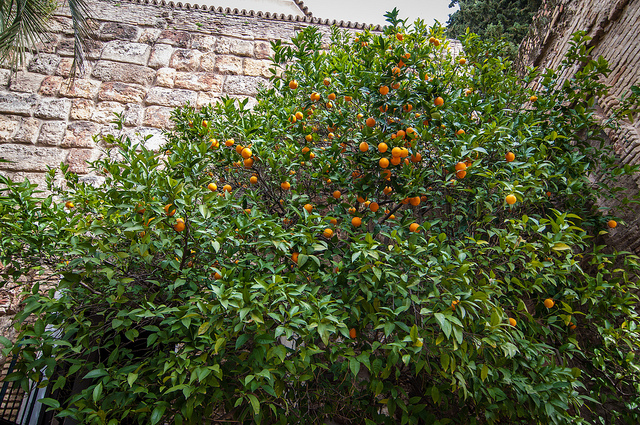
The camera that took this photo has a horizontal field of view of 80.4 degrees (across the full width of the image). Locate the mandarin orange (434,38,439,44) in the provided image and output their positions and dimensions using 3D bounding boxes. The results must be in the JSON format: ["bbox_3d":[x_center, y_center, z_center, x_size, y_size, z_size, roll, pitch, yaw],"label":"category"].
[{"bbox_3d":[1.140,-1.693,3.715,0.052,0.057,0.050,-1,4,-5],"label":"mandarin orange"}]

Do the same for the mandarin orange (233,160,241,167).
[{"bbox_3d":[-0.768,-0.448,3.494,0.074,0.033,0.030,15,31,22],"label":"mandarin orange"}]

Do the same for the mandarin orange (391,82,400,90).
[{"bbox_3d":[0.633,-1.060,3.171,0.064,0.059,0.065,6,6,38],"label":"mandarin orange"}]

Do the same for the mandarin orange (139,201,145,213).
[{"bbox_3d":[-1.283,-0.034,2.736,0.035,0.074,0.084,3,-13,-24],"label":"mandarin orange"}]

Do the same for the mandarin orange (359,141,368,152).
[{"bbox_3d":[0.358,-0.538,3.100,0.061,0.068,0.061,-4,-8,8],"label":"mandarin orange"}]

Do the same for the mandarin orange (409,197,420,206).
[{"bbox_3d":[0.771,-0.084,3.079,0.080,0.057,0.102,-9,-13,31],"label":"mandarin orange"}]

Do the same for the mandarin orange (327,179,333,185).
[{"bbox_3d":[0.085,-0.268,3.328,0.032,0.037,0.032,22,39,32],"label":"mandarin orange"}]

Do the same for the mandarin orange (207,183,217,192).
[{"bbox_3d":[-0.876,-0.205,3.132,0.078,0.086,0.075,3,-2,-36],"label":"mandarin orange"}]

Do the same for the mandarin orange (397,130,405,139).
[{"bbox_3d":[0.640,-0.614,3.003,0.060,0.067,0.060,-11,-5,29],"label":"mandarin orange"}]

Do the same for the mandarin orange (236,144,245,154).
[{"bbox_3d":[-0.667,-0.537,3.194,0.071,0.078,0.068,5,20,3],"label":"mandarin orange"}]

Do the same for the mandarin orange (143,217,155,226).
[{"bbox_3d":[-1.235,0.071,2.737,0.074,0.066,0.072,3,-13,-24],"label":"mandarin orange"}]

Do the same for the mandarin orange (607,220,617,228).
[{"bbox_3d":[2.538,0.102,3.299,0.060,0.058,0.058,31,-5,-5],"label":"mandarin orange"}]

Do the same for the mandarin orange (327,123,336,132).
[{"bbox_3d":[0.109,-0.776,3.460,0.070,0.084,0.164,-3,-11,2],"label":"mandarin orange"}]

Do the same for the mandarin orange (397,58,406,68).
[{"bbox_3d":[0.678,-1.244,3.158,0.058,0.044,0.055,-12,-14,38],"label":"mandarin orange"}]

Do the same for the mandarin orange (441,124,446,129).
[{"bbox_3d":[1.077,-0.751,3.317,0.065,0.033,0.064,8,3,20],"label":"mandarin orange"}]

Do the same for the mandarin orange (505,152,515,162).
[{"bbox_3d":[1.585,-0.459,3.168,0.073,0.083,0.113,-8,-13,26],"label":"mandarin orange"}]

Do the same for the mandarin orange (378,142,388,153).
[{"bbox_3d":[0.498,-0.516,3.012,0.067,0.072,0.064,9,-8,-21],"label":"mandarin orange"}]

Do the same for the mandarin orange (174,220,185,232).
[{"bbox_3d":[-1.029,0.104,2.844,0.084,0.092,0.080,4,5,-2],"label":"mandarin orange"}]

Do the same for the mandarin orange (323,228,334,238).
[{"bbox_3d":[0.061,0.160,2.885,0.062,0.068,0.063,-17,-14,40],"label":"mandarin orange"}]

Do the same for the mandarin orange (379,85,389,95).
[{"bbox_3d":[0.536,-1.026,3.164,0.069,0.074,0.066,-2,2,-23],"label":"mandarin orange"}]

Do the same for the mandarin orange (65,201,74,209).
[{"bbox_3d":[-2.212,-0.066,3.354,0.065,0.034,0.064,32,-7,-36],"label":"mandarin orange"}]

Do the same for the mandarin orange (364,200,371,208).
[{"bbox_3d":[0.393,-0.068,3.135,0.045,0.048,0.043,-1,20,12],"label":"mandarin orange"}]

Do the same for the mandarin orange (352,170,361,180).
[{"bbox_3d":[0.318,-0.329,3.287,0.051,0.063,0.087,2,-12,-20],"label":"mandarin orange"}]

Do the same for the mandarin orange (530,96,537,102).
[{"bbox_3d":[2.002,-1.073,3.564,0.048,0.055,0.047,-22,24,3],"label":"mandarin orange"}]

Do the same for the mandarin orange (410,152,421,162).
[{"bbox_3d":[0.781,-0.452,3.079,0.039,0.101,0.135,-12,-14,37],"label":"mandarin orange"}]

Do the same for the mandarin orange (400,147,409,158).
[{"bbox_3d":[0.660,-0.467,2.970,0.059,0.065,0.059,-6,3,29],"label":"mandarin orange"}]

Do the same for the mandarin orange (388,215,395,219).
[{"bbox_3d":[0.590,0.041,3.123,0.046,0.039,0.040,0,-12,-13],"label":"mandarin orange"}]

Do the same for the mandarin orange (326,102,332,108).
[{"bbox_3d":[0.085,-0.991,3.496,0.047,0.052,0.045,13,27,30],"label":"mandarin orange"}]

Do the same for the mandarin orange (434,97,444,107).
[{"bbox_3d":[0.995,-0.938,3.178,0.063,0.069,0.062,-25,-10,4],"label":"mandarin orange"}]

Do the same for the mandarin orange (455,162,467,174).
[{"bbox_3d":[1.109,-0.351,3.028,0.085,0.093,0.085,-5,-2,31],"label":"mandarin orange"}]

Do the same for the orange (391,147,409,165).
[{"bbox_3d":[0.630,-0.450,3.000,0.130,0.112,0.140,-4,-12,8],"label":"orange"}]

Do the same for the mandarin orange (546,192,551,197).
[{"bbox_3d":[2.045,-0.158,3.405,0.037,0.031,0.031,40,-15,29],"label":"mandarin orange"}]

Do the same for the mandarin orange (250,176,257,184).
[{"bbox_3d":[-0.570,-0.278,3.261,0.055,0.061,0.056,10,7,42],"label":"mandarin orange"}]
